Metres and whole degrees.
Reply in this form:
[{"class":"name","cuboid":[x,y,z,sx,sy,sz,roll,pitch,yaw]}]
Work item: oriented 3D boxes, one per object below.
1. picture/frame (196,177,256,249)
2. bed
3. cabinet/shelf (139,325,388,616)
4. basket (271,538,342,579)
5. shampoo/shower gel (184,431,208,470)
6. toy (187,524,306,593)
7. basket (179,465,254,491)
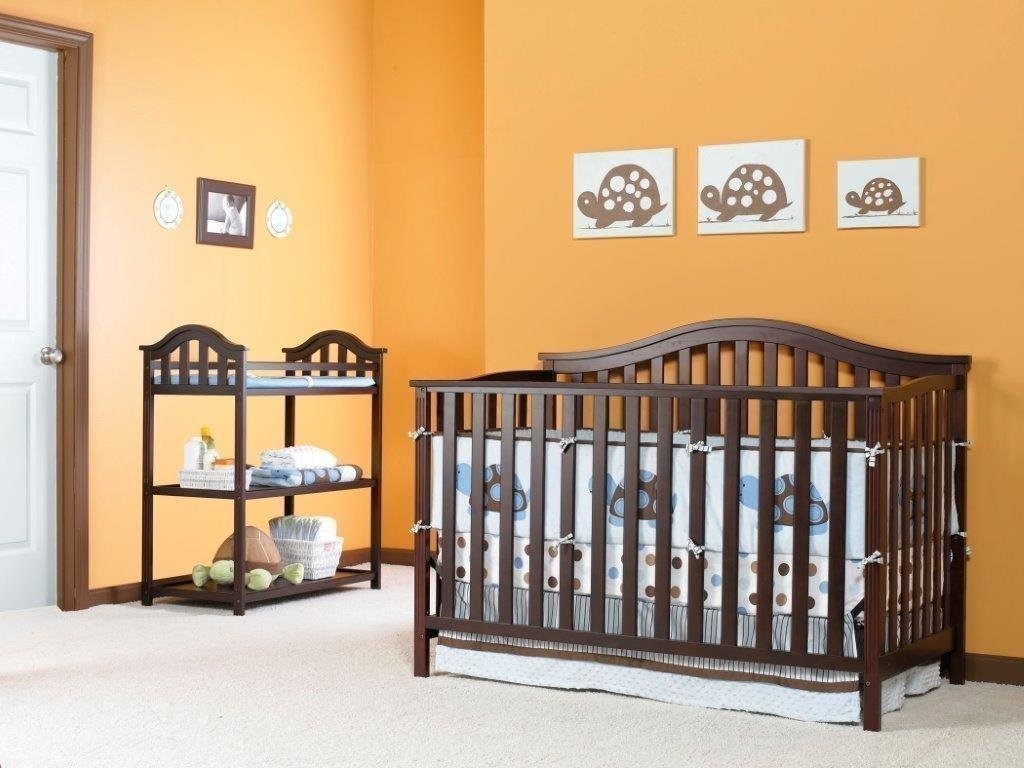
[{"class":"picture/frame","cuboid":[-1.355,-0.816,5.013,0.034,0.349,0.340,1,0,39]},{"class":"bed","cuboid":[0.635,0.381,3.745,1.647,1.299,1.026,0,0,38]},{"class":"cabinet/shelf","cuboid":[-1.112,0.376,4.878,0.598,1.214,0.945,0,-1,29]},{"class":"basket","cuboid":[-0.886,0.775,4.782,0.233,0.151,0.168,-6,-8,37]},{"class":"shampoo/shower gel","cuboid":[-1.357,0.275,4.626,0.126,0.179,0.153,-2,4,-36]},{"class":"toy","cuboid":[-1.123,0.751,4.592,0.274,0.257,0.377,3,-5,-18]},{"class":"basket","cuboid":[-1.278,0.392,4.533,0.306,0.097,0.105,2,3,22]}]
